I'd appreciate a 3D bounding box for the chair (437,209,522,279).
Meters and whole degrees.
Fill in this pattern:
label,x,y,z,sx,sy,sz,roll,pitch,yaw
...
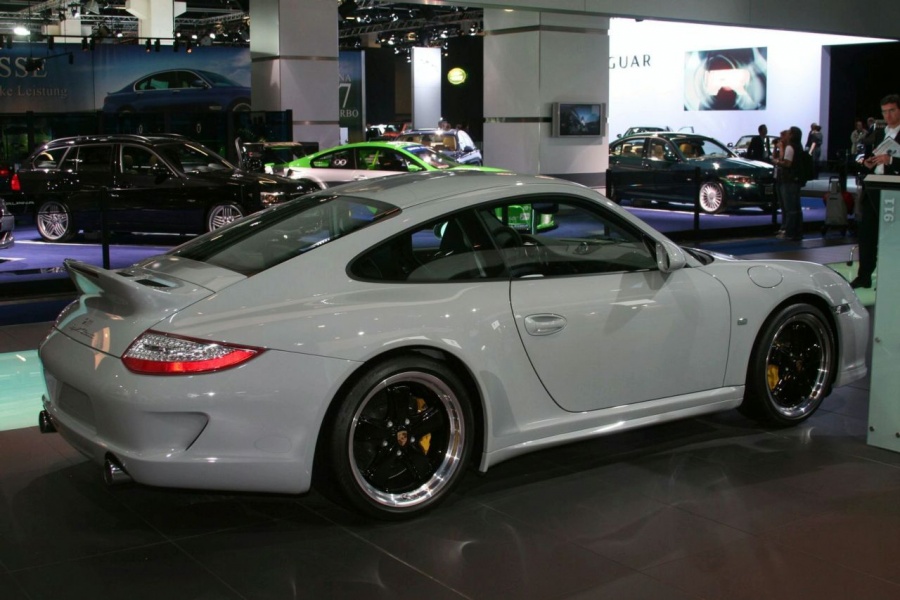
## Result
label,x,y,z,sx,sy,sz,roll,pitch,yaw
chair,0.165,-0.329,3.600,0.543,0.299,0.170,6,-14,-28

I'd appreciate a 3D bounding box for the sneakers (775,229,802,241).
label,x,y,z,sx,sy,sz,roll,pitch,yaw
sneakers,8.354,-1.594,14.411,0.203,0.234,0.548,-14,19,-41

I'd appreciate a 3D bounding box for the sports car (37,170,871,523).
label,x,y,z,sx,sy,sz,roll,pitch,yaw
sports car,0.136,0.079,4.076,4.409,1.336,2.374,-8,13,-22
